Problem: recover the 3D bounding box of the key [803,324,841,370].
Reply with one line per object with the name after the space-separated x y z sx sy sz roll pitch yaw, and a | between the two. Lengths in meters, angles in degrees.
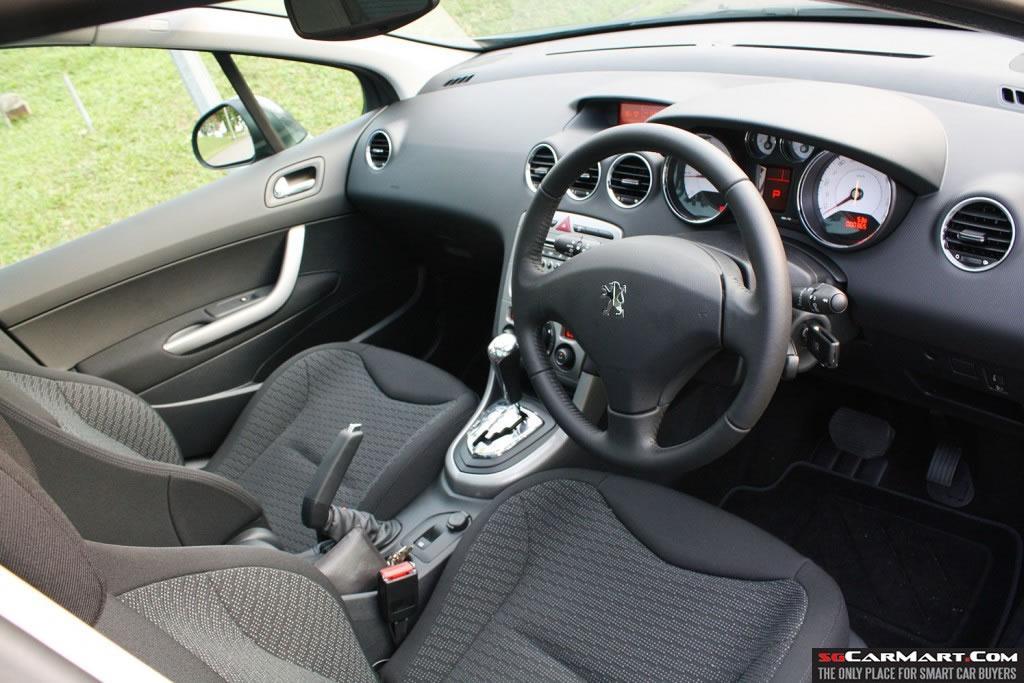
0.569 0.007 1.386 0.026 0.055 0.109 -8 34 -15 | key
